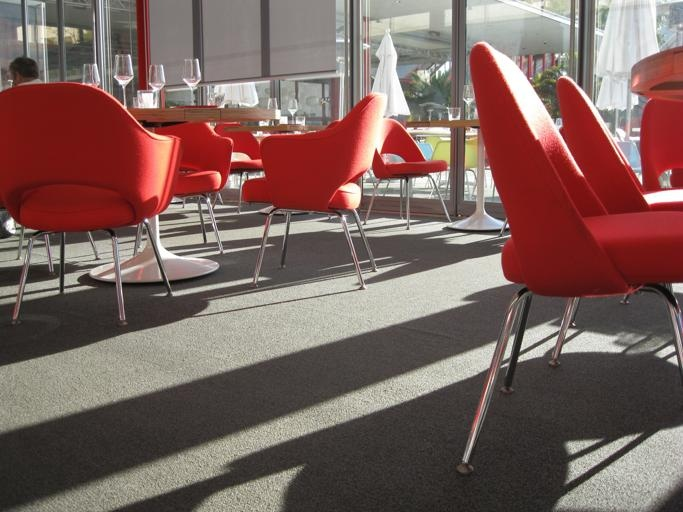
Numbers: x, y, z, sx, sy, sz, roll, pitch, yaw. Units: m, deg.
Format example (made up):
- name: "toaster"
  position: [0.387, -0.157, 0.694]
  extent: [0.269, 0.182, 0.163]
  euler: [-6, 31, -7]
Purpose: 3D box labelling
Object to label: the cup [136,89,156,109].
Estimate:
- name: "cup"
  position: [-1.189, -0.968, 3.018]
  extent: [0.113, 0.132, 0.152]
  euler: [7, 19, 6]
